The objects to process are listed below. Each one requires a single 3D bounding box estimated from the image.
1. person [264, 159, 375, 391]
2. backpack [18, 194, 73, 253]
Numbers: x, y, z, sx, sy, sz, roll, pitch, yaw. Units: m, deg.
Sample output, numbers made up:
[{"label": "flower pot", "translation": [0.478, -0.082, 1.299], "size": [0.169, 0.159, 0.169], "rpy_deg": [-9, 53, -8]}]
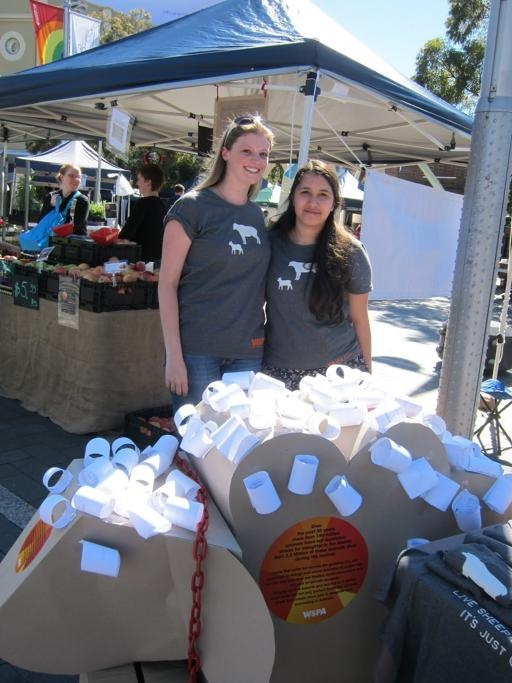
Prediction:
[{"label": "person", "translation": [0.259, -0.268, 2.054], "size": [0.478, 0.899, 0.311], "rpy_deg": [8, 17, 12]}, {"label": "backpack", "translation": [-2.106, -1.291, 5.122], "size": [0.306, 0.733, 0.410], "rpy_deg": [26, -5, -12]}]
